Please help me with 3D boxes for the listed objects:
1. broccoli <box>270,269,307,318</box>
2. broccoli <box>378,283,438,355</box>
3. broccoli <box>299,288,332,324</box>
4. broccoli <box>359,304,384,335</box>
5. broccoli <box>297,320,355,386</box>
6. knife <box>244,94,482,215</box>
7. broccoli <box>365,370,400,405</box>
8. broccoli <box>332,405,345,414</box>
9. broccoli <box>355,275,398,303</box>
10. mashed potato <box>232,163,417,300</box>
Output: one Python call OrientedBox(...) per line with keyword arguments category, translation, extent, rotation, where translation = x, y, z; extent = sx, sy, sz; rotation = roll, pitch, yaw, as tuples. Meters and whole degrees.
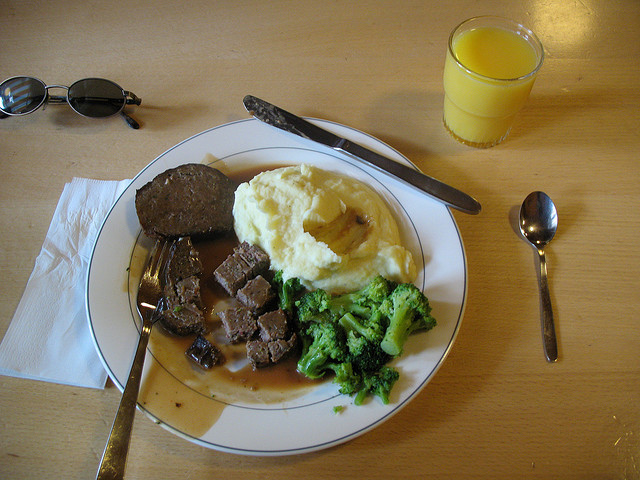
OrientedBox(category="broccoli", translation=(-0.237, 0.368, 4.180), extent=(0.275, 0.195, 0.259), rotation=(35, 80, 9))
OrientedBox(category="broccoli", translation=(0.517, 0.506, 3.878), extent=(0.422, 0.144, 0.348), rotation=(-35, 79, -6))
OrientedBox(category="broccoli", translation=(-0.005, 0.419, 4.068), extent=(0.119, 0.230, 0.246), rotation=(-13, 47, -27))
OrientedBox(category="broccoli", translation=(0.347, 0.534, 3.970), extent=(0.153, 0.055, 0.151), rotation=(-35, 67, -17))
OrientedBox(category="broccoli", translation=(0.025, 0.743, 3.887), extent=(0.360, 0.350, 0.460), rotation=(-12, 38, -15))
OrientedBox(category="knife", translation=(0.251, -0.675, 4.549), extent=(2.147, 0.212, 0.111), rotation=(29, 87, 20))
OrientedBox(category="broccoli", translation=(0.417, 0.906, 3.791), extent=(0.203, 0.113, 0.220), rotation=(31, 43, 30))
OrientedBox(category="broccoli", translation=(0.119, 1.060, 3.737), extent=(0.043, 0.020, 0.042), rotation=(-21, 83, 14))
OrientedBox(category="broccoli", translation=(0.376, 0.308, 3.991), extent=(0.191, 0.160, 0.096), rotation=(-25, 100, 10))
OrientedBox(category="mashed potato", translation=(-0.002, -0.078, 4.239), extent=(1.241, 0.394, 0.957), rotation=(-9, 77, -1))
